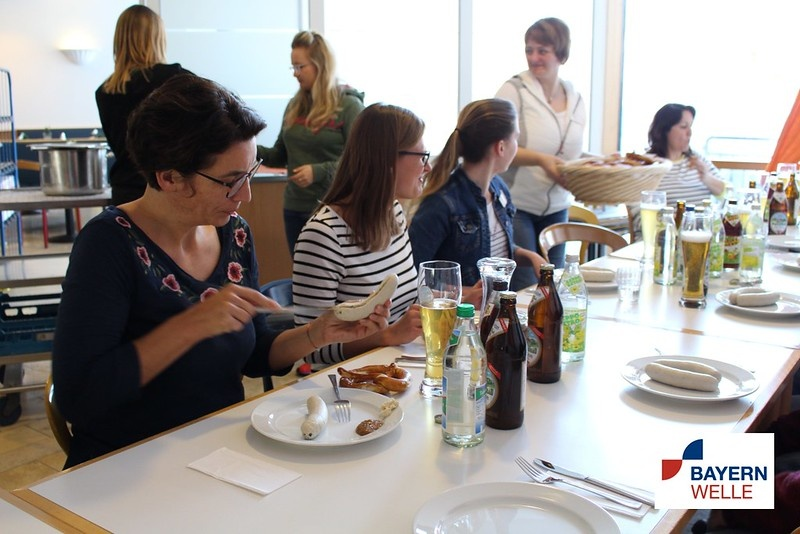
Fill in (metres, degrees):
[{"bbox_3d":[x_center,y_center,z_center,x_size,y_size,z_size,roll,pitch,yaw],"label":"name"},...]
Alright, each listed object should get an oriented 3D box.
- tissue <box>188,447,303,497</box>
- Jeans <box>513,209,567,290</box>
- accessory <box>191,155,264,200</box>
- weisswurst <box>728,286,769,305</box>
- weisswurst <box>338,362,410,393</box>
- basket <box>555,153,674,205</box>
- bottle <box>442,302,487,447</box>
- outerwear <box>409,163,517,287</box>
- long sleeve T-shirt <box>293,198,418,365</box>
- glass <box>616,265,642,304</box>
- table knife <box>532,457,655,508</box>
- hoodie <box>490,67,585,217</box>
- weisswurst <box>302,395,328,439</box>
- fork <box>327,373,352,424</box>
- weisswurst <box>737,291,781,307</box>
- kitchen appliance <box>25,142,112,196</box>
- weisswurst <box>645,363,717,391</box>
[{"bbox_3d":[-0.339,0.441,1.288,0.234,0.041,0.085,3,12,24],"label":"tissue"},{"bbox_3d":[0.689,-0.095,2.995,0.080,0.459,0.341,14,29,33],"label":"Jeans"},{"bbox_3d":[-0.432,-0.229,1.581,0.121,0.035,0.117,10,26,7],"label":"accessory"},{"bbox_3d":[1.240,0.106,2.094,0.094,0.029,0.076,-3,5,-23],"label":"weisswurst"},{"bbox_3d":[-0.068,0.299,1.597,0.102,0.036,0.098,5,8,23],"label":"weisswurst"},{"bbox_3d":[1.055,-0.433,3.069,0.382,0.156,0.375,0,-2,-12],"label":"basket"},{"bbox_3d":[0.142,0.258,1.339,0.094,0.297,0.042,-2,12,4],"label":"bottle"},{"bbox_3d":[0.239,-0.177,2.444,0.489,0.425,0.191,-18,27,-41],"label":"outerwear"},{"bbox_3d":[-0.152,0.058,1.958,0.279,0.479,0.502,12,21,33],"label":"long sleeve T-shirt"},{"bbox_3d":[0.861,0.060,2.252,0.100,0.133,0.088,1,4,5],"label":"glass"},{"bbox_3d":[0.396,0.446,1.248,0.242,0.018,0.074,15,21,32],"label":"table knife"},{"bbox_3d":[0.836,-0.780,3.719,0.668,0.841,0.435,-1,10,-34],"label":"hoodie"},{"bbox_3d":[-0.206,0.361,1.433,0.057,0.046,0.178,2,12,-3],"label":"weisswurst"},{"bbox_3d":[-0.142,0.330,1.508,0.031,0.019,0.178,0,22,-10],"label":"fork"},{"bbox_3d":[1.242,0.107,2.066,0.130,0.035,0.059,-2,-2,-8],"label":"weisswurst"},{"bbox_3d":[-1.876,-0.561,3.391,0.326,0.245,0.388,2,10,10],"label":"kitchen appliance"},{"bbox_3d":[0.720,0.287,1.582,0.201,0.059,0.055,7,23,30],"label":"weisswurst"}]
